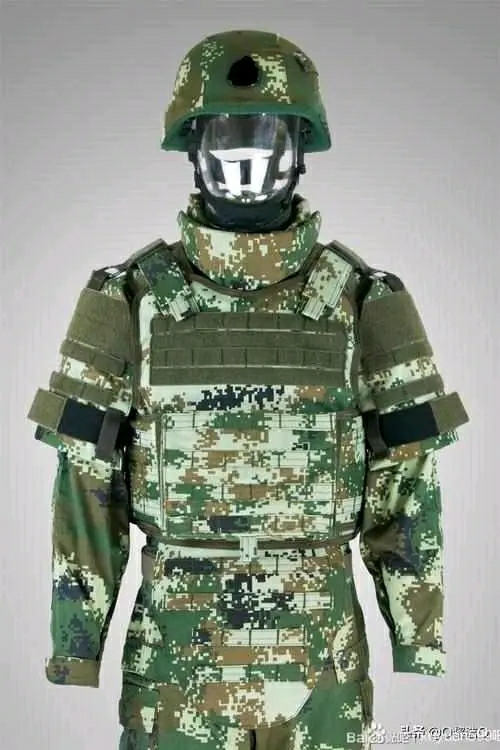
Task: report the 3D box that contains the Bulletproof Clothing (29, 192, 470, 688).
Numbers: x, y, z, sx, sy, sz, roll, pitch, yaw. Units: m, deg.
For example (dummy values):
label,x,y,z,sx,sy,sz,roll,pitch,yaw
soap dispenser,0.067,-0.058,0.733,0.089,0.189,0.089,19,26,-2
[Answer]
label,x,y,z,sx,sy,sz,roll,pitch,yaw
Bulletproof Clothing,-0.004,0.133,1.819,0.999,1.095,0.544,7,-26,-13

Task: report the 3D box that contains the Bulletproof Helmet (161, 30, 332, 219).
label,x,y,z,sx,sy,sz,roll,pitch,yaw
Bulletproof Helmet,0.004,-0.553,1.911,0.417,0.441,0.442,0,0,-4
